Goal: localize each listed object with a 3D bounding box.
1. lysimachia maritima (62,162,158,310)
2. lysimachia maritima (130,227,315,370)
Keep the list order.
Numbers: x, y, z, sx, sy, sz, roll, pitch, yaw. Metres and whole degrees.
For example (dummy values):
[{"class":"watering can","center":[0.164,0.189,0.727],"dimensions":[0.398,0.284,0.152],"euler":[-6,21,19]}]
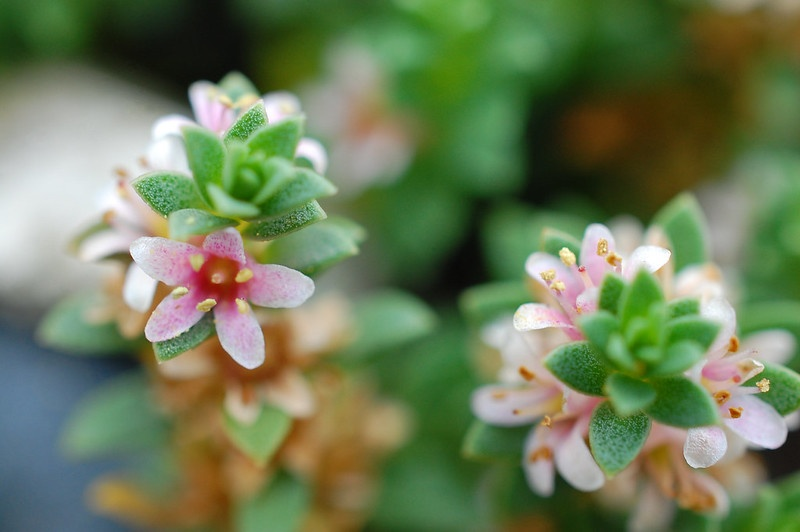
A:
[{"class":"lysimachia maritima","center":[-0.659,-0.054,1.771],"dimensions":[0.320,0.163,0.323],"euler":[-23,-1,-26]},{"class":"lysimachia maritima","center":[-0.374,0.067,1.536],"dimensions":[0.365,0.248,0.210],"euler":[-10,40,-6]}]
